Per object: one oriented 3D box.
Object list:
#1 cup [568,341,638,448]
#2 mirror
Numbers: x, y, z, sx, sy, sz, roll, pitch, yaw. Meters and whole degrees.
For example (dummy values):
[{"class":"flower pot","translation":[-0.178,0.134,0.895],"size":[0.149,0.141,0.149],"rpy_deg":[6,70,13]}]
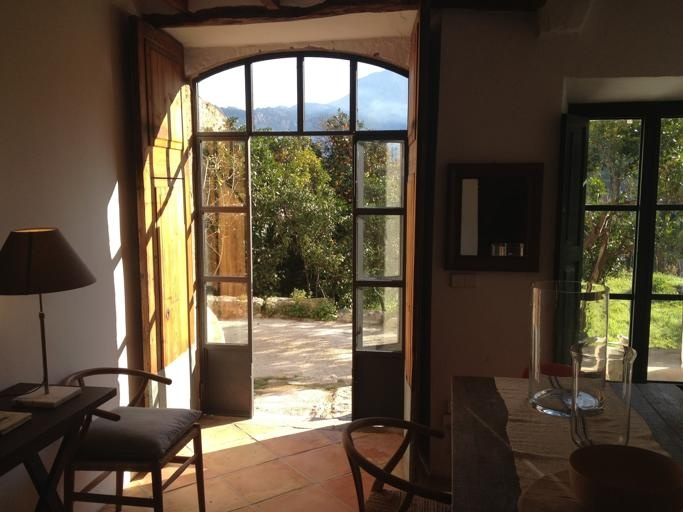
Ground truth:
[{"class":"cup","translation":[0.928,0.492,2.124],"size":[0.319,0.381,0.194],"rpy_deg":[-2,3,-38]},{"class":"mirror","translation":[0.943,-0.237,3.747],"size":[0.556,0.721,0.028],"rpy_deg":[1,-19,14]}]
